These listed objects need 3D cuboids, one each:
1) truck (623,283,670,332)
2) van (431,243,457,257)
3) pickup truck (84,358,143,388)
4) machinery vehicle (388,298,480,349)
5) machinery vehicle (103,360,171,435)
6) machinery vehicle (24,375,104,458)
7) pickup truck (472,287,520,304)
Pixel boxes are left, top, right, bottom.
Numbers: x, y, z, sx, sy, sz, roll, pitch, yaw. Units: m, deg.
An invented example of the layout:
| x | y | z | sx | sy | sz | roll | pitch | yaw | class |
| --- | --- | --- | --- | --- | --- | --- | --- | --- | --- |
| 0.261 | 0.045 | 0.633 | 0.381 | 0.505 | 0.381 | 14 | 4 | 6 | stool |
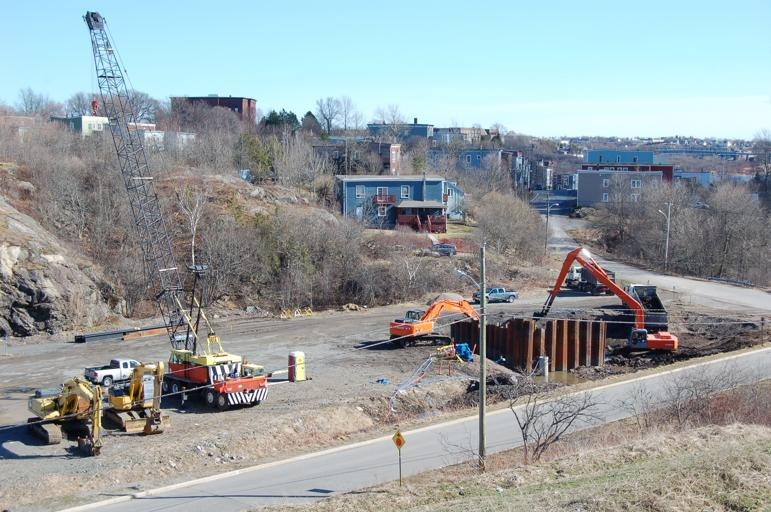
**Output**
| x | y | z | sx | sy | sz | roll | pitch | yaw | class |
| --- | --- | --- | --- | --- | --- | --- | --- | --- | --- |
| 22.718 | 4.143 | 95.742 | 1.849 | 2.318 | 6.388 | -3 | 8 | 5 | truck |
| 6.165 | -0.747 | 117.350 | 2.113 | 1.047 | 1.318 | 7 | 10 | 13 | van |
| -20.202 | 8.289 | 81.019 | 4.503 | 1.934 | 2.392 | -6 | 10 | -31 | pickup truck |
| 4.665 | 5.037 | 90.344 | 8.542 | 3.857 | 3.072 | -5 | 9 | -20 | machinery vehicle |
| -16.722 | 9.134 | 74.862 | 4.196 | 4.254 | 5.924 | -7 | 13 | -40 | machinery vehicle |
| -20.748 | 10.325 | 72.669 | 5.497 | 4.719 | 2.298 | 5 | 12 | 31 | machinery vehicle |
| 10.343 | 3.689 | 104.410 | 3.615 | 1.288 | 1.886 | 2 | -1 | -12 | pickup truck |
